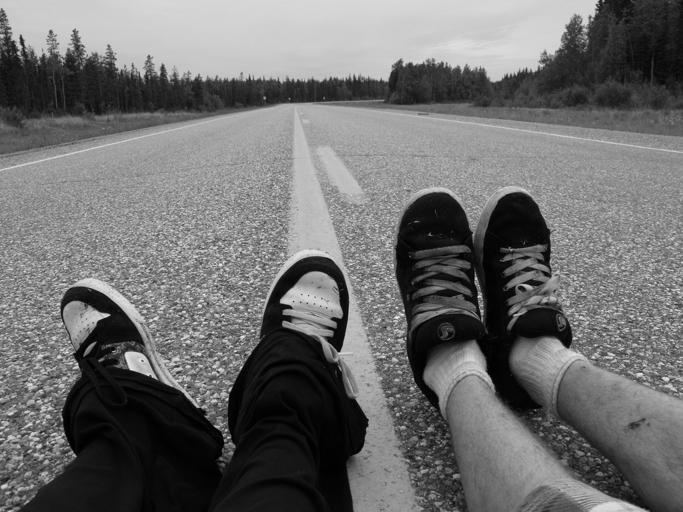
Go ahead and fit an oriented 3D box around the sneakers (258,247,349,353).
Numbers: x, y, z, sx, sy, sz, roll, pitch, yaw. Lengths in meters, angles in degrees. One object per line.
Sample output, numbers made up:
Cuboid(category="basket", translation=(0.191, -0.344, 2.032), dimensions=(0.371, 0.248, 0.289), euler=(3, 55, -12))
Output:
Cuboid(category="sneakers", translation=(-0.124, 0.211, 1.772), dimensions=(0.171, 0.560, 0.194), euler=(13, -14, -13))
